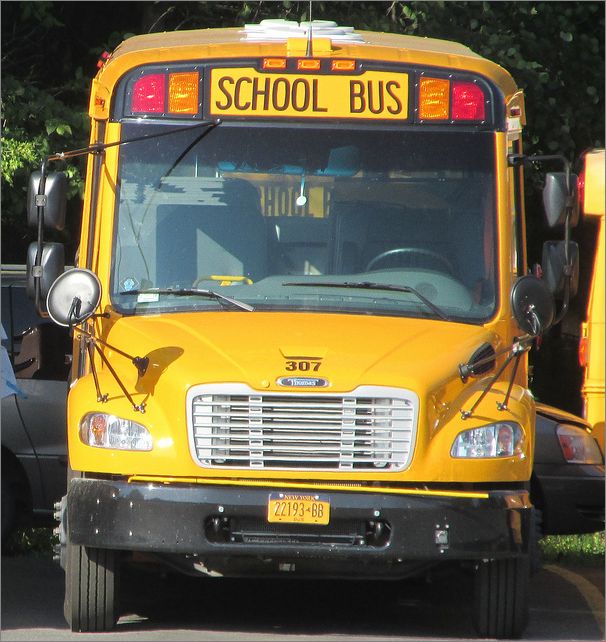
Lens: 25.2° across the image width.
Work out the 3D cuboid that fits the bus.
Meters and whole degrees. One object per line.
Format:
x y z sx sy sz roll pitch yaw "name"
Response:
-0.010 -0.086 8.436 1.842 2.415 3.771 1 -4 -2 "bus"
